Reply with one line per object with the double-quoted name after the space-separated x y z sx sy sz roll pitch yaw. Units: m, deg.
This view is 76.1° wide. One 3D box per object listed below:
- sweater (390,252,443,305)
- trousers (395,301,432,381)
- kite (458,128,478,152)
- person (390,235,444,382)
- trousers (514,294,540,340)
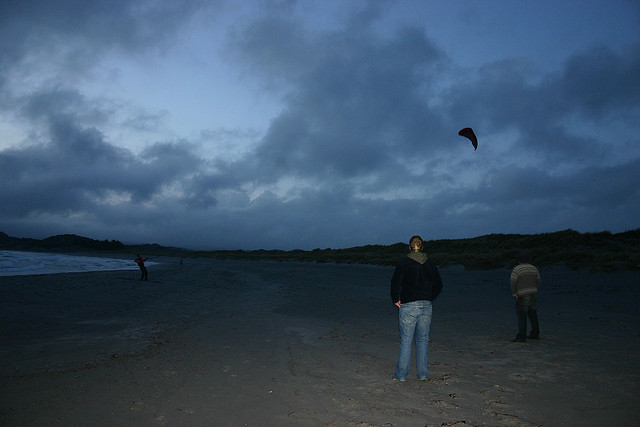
2.520 1.793 11.053 1.655 1.289 0.797 3 -3 -22 "sweater"
2.473 3.399 10.939 0.919 2.182 0.525 -1 -1 5 "trousers"
6.530 -3.322 17.953 0.588 0.939 1.149 -1 -1 14 "kite"
2.528 2.574 10.888 1.253 3.853 0.553 -1 -1 6 "person"
7.156 3.554 14.181 0.732 1.054 1.000 -1 -1 26 "trousers"
